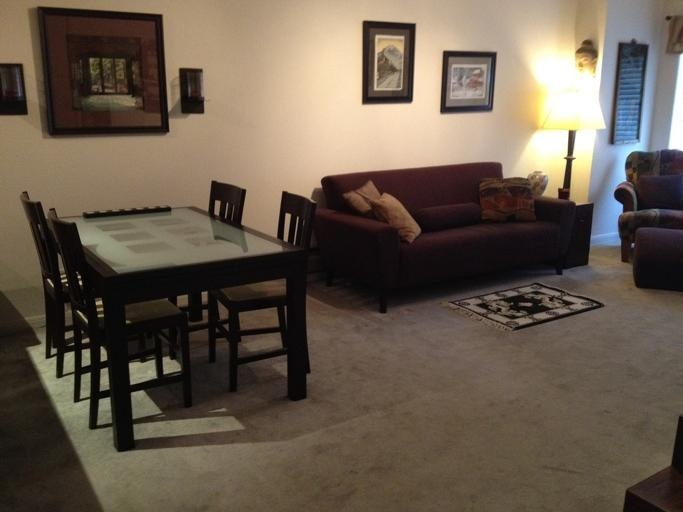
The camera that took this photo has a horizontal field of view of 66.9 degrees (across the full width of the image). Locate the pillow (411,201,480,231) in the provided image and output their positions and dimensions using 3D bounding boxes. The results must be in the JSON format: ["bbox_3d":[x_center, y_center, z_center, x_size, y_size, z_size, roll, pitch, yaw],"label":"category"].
[{"bbox_3d":[1.015,-0.370,5.042,0.812,0.274,0.247,-6,-7,-32],"label":"pillow"}]

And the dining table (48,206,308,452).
[{"bbox_3d":[-1.173,0.280,3.451,1.238,0.903,1.914,-11,19,-39],"label":"dining table"}]

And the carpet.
[{"bbox_3d":[1.552,0.413,4.397,1.167,0.019,0.700,-8,19,-25],"label":"carpet"}]

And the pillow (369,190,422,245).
[{"bbox_3d":[0.480,-0.332,4.529,0.409,0.335,0.336,9,20,27],"label":"pillow"}]

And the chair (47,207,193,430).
[{"bbox_3d":[-1.254,0.335,2.974,0.581,1.082,0.697,9,12,42],"label":"chair"}]

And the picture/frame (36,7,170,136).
[{"bbox_3d":[-1.839,-1.418,3.906,0.965,1.021,0.071,-7,12,-31],"label":"picture/frame"}]

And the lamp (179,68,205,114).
[{"bbox_3d":[-1.221,-1.343,4.229,0.206,0.369,0.148,-6,18,-16],"label":"lamp"}]

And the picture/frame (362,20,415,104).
[{"bbox_3d":[0.430,-1.907,5.018,0.747,0.881,0.072,-7,16,-29],"label":"picture/frame"}]

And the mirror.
[{"bbox_3d":[3.359,-1.963,6.098,1.013,1.460,0.063,-12,16,-37],"label":"mirror"}]

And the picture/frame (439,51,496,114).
[{"bbox_3d":[1.342,-1.862,5.510,0.646,0.583,0.031,-9,24,-22],"label":"picture/frame"}]
